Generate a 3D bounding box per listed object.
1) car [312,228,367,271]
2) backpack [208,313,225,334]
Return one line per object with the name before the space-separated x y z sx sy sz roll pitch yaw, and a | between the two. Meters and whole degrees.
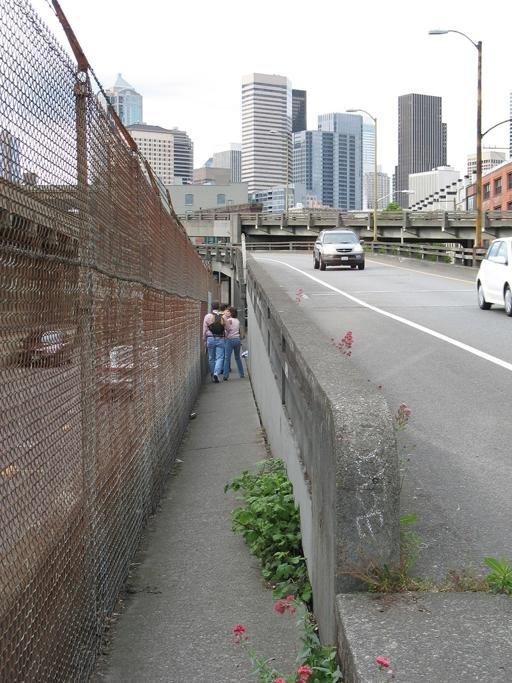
car | 4.751 -5.336 35.216 2.907 2.583 2.545 -11 0 24
backpack | -1.127 -0.458 17.355 0.367 0.649 0.523 1 -10 -2
